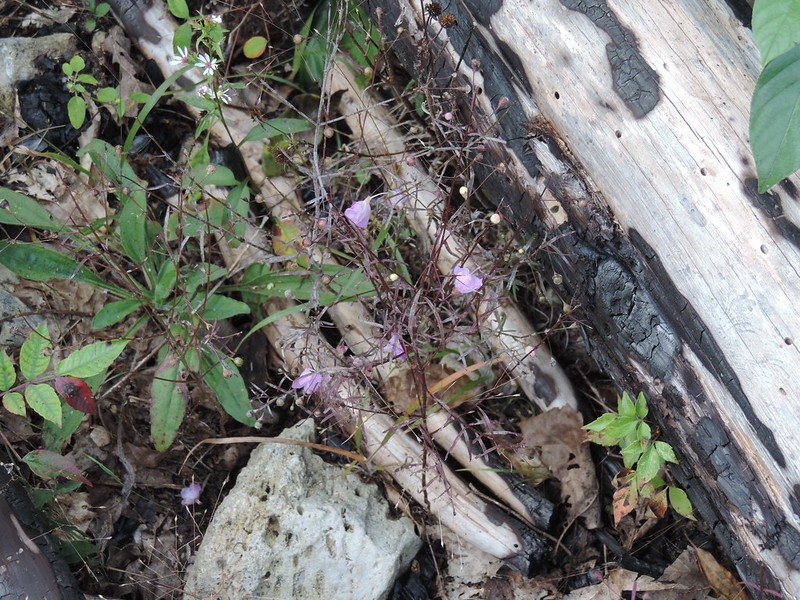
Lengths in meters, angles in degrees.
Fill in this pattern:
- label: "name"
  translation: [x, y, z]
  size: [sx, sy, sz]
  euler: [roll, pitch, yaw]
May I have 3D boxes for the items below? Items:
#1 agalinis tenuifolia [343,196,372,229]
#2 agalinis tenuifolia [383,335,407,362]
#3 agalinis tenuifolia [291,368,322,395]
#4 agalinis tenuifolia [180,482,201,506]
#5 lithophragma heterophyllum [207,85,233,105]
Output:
- label: "agalinis tenuifolia"
  translation: [-0.140, -0.297, 2.455]
  size: [0.087, 0.090, 0.097]
  euler: [2, 58, -13]
- label: "agalinis tenuifolia"
  translation: [-0.012, 0.174, 2.583]
  size: [0.078, 0.135, 0.076]
  euler: [9, 84, 0]
- label: "agalinis tenuifolia"
  translation: [-0.322, 0.293, 2.588]
  size: [0.084, 0.094, 0.047]
  euler: [37, 29, -20]
- label: "agalinis tenuifolia"
  translation: [-0.807, 0.759, 2.871]
  size: [0.077, 0.061, 0.075]
  euler: [5, 58, -12]
- label: "lithophragma heterophyllum"
  translation: [-0.665, -0.763, 2.734]
  size: [0.077, 0.020, 0.086]
  euler: [-12, 67, -46]
